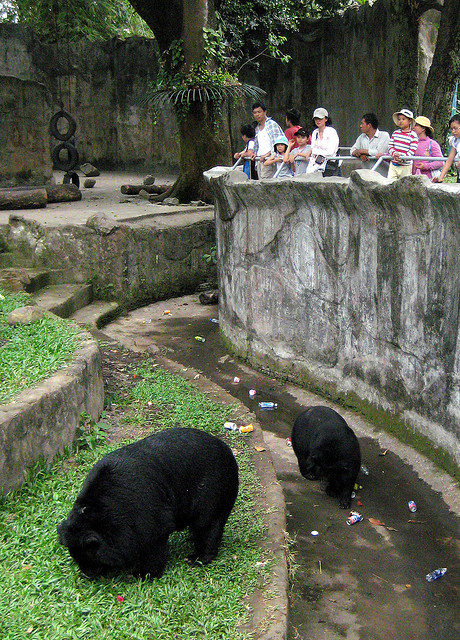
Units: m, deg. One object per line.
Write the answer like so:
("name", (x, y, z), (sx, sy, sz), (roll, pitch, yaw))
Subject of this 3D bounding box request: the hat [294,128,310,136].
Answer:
("hat", (0.681, -1.735, 7.296), (0.180, 0.085, 0.214), (0, 9, 1))

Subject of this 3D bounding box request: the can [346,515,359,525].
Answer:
("can", (0.688, 1.120, 4.411), (0.033, 0.024, 0.061), (16, 20, 42))

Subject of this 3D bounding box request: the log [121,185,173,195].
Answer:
("log", (-1.380, -2.136, 12.868), (0.572, 0.145, 0.858), (13, 17, 35))

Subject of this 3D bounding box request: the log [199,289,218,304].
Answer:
("log", (-0.248, -0.277, 9.599), (0.192, 0.139, 0.239), (14, 18, 38))

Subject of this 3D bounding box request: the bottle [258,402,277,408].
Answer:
("bottle", (0.308, 0.681, 6.338), (0.159, 0.040, 0.118), (2, 14, -3))

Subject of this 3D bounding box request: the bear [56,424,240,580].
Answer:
("bear", (-0.251, 0.718, 3.193), (0.427, 0.483, 0.755), (-5, -1, 40))

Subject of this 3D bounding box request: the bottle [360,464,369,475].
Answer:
("bottle", (0.868, 0.960, 5.081), (0.035, 0.016, 0.063), (2, 28, -9))

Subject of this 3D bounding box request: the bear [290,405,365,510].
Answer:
("bear", (0.586, 0.806, 4.889), (0.296, 0.344, 0.661), (-6, 6, 3))

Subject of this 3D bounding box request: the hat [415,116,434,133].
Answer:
("hat", (1.593, -1.626, 6.449), (0.127, 0.056, 0.139), (21, 0, 9))
